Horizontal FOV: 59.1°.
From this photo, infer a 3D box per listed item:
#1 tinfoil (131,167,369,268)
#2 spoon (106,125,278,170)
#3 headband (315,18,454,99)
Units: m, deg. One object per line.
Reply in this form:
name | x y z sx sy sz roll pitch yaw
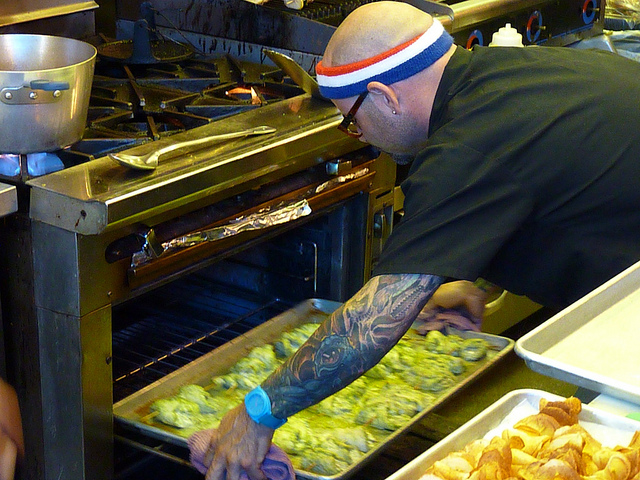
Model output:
tinfoil | -0.208 -0.193 1.813 0.621 0.246 0.684 20 30 35
spoon | -0.357 -0.253 1.594 0.479 0.076 0.090 -9 16 2
headband | 0.165 -0.481 1.517 0.384 0.107 0.316 -19 19 14
